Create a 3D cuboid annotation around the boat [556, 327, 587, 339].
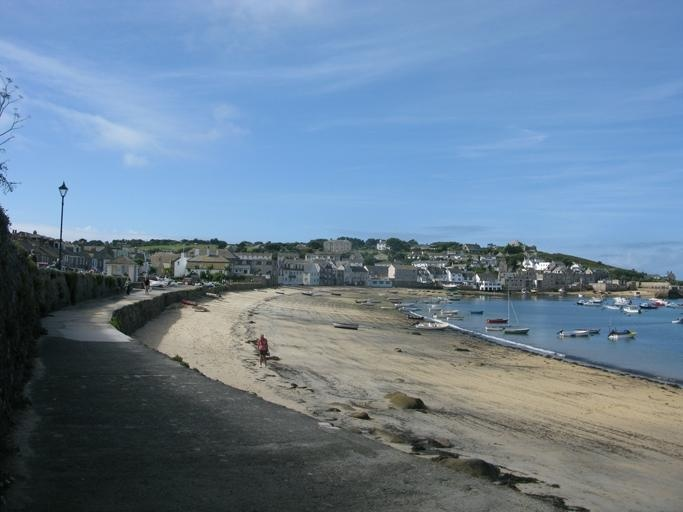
[{"bbox_3d":[23.523,7.889,58.561,2.903,0.496,1.467,0,-4,5],"label":"boat"}]
